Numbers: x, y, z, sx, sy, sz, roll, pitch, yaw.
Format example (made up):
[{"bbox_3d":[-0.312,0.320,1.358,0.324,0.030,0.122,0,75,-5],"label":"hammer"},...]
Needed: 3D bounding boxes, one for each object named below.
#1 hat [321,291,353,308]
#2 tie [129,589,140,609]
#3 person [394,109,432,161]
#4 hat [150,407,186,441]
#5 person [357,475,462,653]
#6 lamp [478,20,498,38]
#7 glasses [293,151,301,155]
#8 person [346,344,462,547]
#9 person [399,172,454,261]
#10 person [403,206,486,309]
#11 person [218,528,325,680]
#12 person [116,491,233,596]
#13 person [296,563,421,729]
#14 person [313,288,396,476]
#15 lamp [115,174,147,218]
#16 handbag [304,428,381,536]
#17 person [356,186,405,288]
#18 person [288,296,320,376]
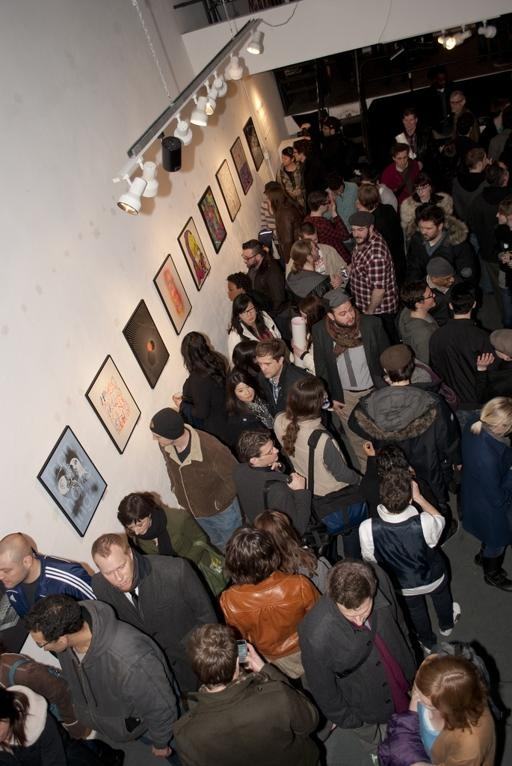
[{"bbox_3d":[0.581,-0.595,3.840,0.164,0.099,0.207,-22,29,13],"label":"hat"},{"bbox_3d":[-0.553,0.962,2.431,0.059,0.088,0.030,-5,3,32],"label":"tie"},{"bbox_3d":[2.101,-3.155,7.249,0.434,0.981,0.310,-7,1,16],"label":"person"},{"bbox_3d":[-0.509,0.231,3.119,0.185,0.150,0.159,43,67,15],"label":"hat"},{"bbox_3d":[0.794,0.933,2.739,0.409,1.221,0.360,-21,30,-1],"label":"person"},{"bbox_3d":[2.863,-4.414,6.713,0.165,0.212,0.628,-13,33,27],"label":"lamp"},{"bbox_3d":[0.529,-3.017,7.032,0.083,0.028,0.085,6,51,-9],"label":"glasses"},{"bbox_3d":[1.038,0.376,3.431,0.673,1.435,0.587,17,57,40],"label":"person"},{"bbox_3d":[1.817,-1.602,5.721,0.507,1.168,0.400,1,29,23],"label":"person"},{"bbox_3d":[1.719,-1.079,5.030,0.438,1.266,0.628,-40,44,-25],"label":"person"},{"bbox_3d":[0.061,1.082,2.465,0.449,0.981,0.345,-10,25,-1],"label":"person"},{"bbox_3d":[-0.429,0.831,2.782,0.303,0.779,0.370,-24,51,34],"label":"person"},{"bbox_3d":[0.389,1.036,2.106,0.400,0.880,0.278,-47,53,-8],"label":"person"},{"bbox_3d":[0.826,0.044,4.315,0.606,1.782,0.477,-1,40,22],"label":"person"},{"bbox_3d":[-0.665,-1.037,2.980,0.144,0.154,0.316,-19,30,17],"label":"lamp"},{"bbox_3d":[0.454,0.599,3.378,0.341,0.667,0.457,-18,6,-1],"label":"handbag"},{"bbox_3d":[1.233,-1.328,5.362,0.371,1.306,0.408,-6,-5,28],"label":"person"},{"bbox_3d":[0.387,-0.371,4.300,0.212,0.738,0.160,-14,50,-10],"label":"person"}]
